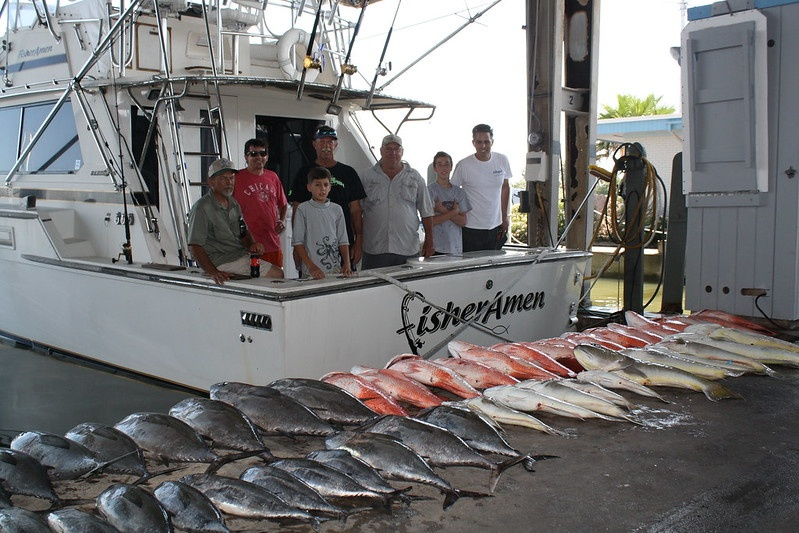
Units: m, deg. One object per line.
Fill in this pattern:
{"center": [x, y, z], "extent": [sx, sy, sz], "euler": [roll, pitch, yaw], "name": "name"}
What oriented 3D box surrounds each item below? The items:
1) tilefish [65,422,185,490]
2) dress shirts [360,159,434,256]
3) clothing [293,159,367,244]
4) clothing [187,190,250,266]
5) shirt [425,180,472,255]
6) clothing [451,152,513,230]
{"center": [-1.365, 0.917, 3.334], "extent": [0.583, 0.235, 0.157], "euler": [18, -9, 4], "name": "tilefish"}
{"center": [-0.050, -0.545, 6.796], "extent": [0.936, 1.080, 0.544], "euler": [-1, 4, -8], "name": "dress shirts"}
{"center": [-0.660, -0.570, 6.409], "extent": [0.787, 0.928, 0.352], "euler": [-3, 3, -28], "name": "clothing"}
{"center": [-1.653, -0.333, 6.328], "extent": [0.420, 0.667, 0.805], "euler": [1, 11, 17], "name": "clothing"}
{"center": [0.512, -0.490, 7.268], "extent": [0.473, 1.047, 0.304], "euler": [-8, 31, -3], "name": "shirt"}
{"center": [0.870, -0.809, 7.511], "extent": [0.701, 0.727, 0.339], "euler": [-16, 23, -29], "name": "clothing"}
